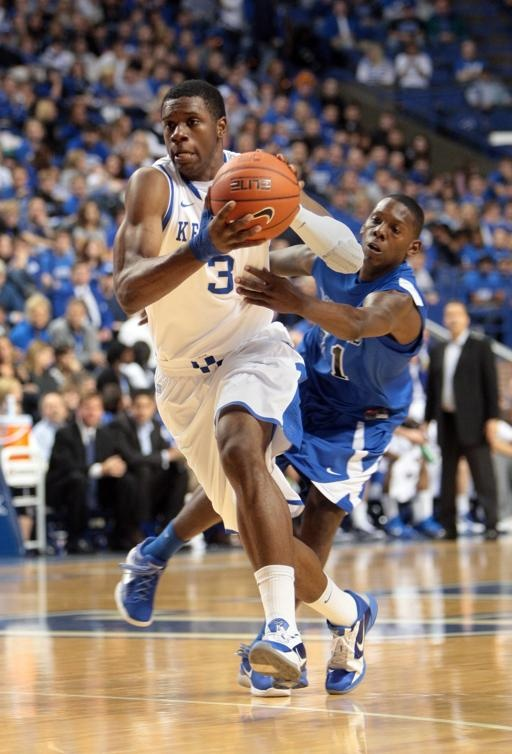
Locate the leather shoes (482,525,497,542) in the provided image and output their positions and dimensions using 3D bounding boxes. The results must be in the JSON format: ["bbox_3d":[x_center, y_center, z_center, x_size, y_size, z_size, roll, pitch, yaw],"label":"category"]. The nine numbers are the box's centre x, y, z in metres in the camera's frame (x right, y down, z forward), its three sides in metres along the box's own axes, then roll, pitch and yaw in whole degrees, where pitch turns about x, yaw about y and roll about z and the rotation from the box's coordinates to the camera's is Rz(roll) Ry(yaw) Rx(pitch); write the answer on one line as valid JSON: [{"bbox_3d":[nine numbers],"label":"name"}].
[{"bbox_3d":[2.501,1.683,8.764,0.169,0.160,0.091,-37,-7,20],"label":"leather shoes"}]

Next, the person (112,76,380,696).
[{"bbox_3d":[-0.038,-0.007,2.228,0.672,1.645,1.050,-4,-9,9],"label":"person"}]

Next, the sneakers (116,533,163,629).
[{"bbox_3d":[-0.388,0.673,2.725,0.132,0.139,0.299,28,32,-31],"label":"sneakers"}]

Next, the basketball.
[{"bbox_3d":[-0.002,-0.417,1.930,0.260,0.255,0.237,2,6,3],"label":"basketball"}]

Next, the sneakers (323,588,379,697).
[{"bbox_3d":[0.290,0.734,2.211,0.103,0.119,0.305,-13,26,24],"label":"sneakers"}]

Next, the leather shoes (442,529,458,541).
[{"bbox_3d":[2.095,1.711,8.846,0.146,0.101,0.103,-3,-9,5],"label":"leather shoes"}]

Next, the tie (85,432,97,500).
[{"bbox_3d":[-1.498,0.853,7.436,0.106,0.693,0.267,-1,-9,-11],"label":"tie"}]

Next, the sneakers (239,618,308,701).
[{"bbox_3d":[0.027,0.712,1.965,0.125,0.127,0.302,-3,-21,-4],"label":"sneakers"}]
